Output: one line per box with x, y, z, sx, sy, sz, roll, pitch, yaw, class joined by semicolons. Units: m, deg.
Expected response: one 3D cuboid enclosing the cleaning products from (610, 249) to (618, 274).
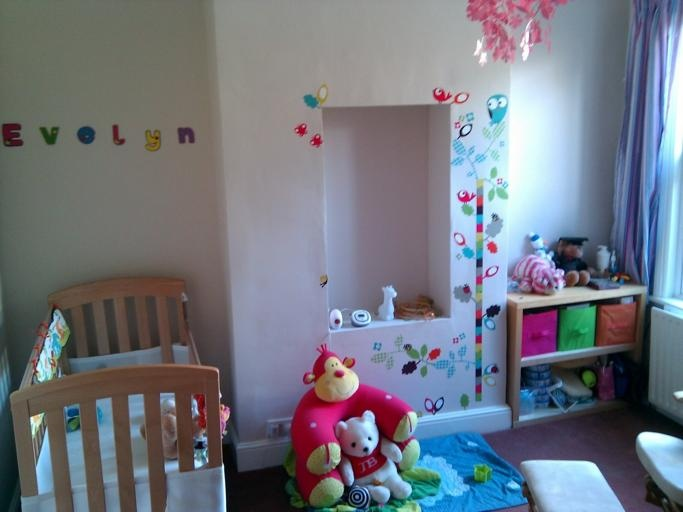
1.939;0.047;3.628;0.049;0.156;0.133;2;9;31;cleaning products

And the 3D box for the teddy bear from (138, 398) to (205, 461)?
-0.779;0.795;2.394;0.205;0.289;0.297;-3;7;12;teddy bear

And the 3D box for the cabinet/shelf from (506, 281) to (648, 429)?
1.588;0.672;3.460;0.827;0.779;0.261;-3;6;-18;cabinet/shelf

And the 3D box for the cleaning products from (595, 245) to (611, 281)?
1.875;0.040;3.639;0.090;0.202;0.122;1;9;29;cleaning products

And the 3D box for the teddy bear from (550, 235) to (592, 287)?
1.627;0.038;3.605;0.240;0.347;0.235;0;-5;29;teddy bear

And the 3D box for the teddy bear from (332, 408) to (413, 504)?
0.161;1.133;2.846;0.313;0.453;0.343;-27;11;-25;teddy bear
